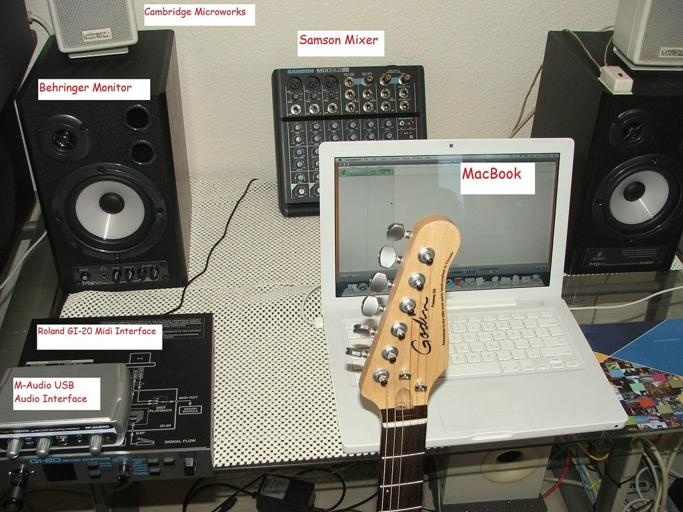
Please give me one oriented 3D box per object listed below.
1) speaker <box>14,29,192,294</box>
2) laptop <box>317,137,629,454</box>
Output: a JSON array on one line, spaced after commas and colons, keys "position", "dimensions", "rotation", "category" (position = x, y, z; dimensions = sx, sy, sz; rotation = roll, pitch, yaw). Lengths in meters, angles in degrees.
[{"position": [-0.487, -0.181, 1.161], "dimensions": [0.258, 0.423, 0.294], "rotation": [0, 35, -13], "category": "speaker"}, {"position": [0.221, 0.042, 0.937], "dimensions": [0.531, 0.345, 0.452], "rotation": [-6, 32, -9], "category": "laptop"}]
